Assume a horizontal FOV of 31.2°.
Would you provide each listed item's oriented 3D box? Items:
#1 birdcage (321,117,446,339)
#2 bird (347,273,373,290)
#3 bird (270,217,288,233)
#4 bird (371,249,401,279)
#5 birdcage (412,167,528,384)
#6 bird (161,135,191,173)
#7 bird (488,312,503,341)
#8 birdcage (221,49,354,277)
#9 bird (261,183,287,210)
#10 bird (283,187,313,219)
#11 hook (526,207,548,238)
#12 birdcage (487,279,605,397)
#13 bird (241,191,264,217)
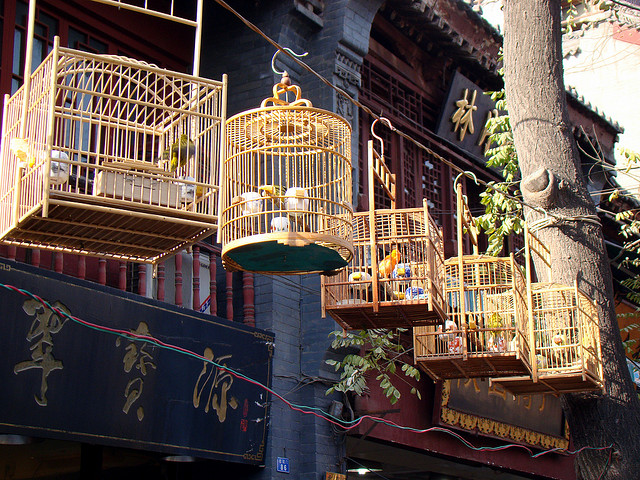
[{"bbox_3d":[0.633,-0.314,12.964,1.390,2.344,1.463,-2,4,-22],"label":"birdcage"},{"bbox_3d":[0.445,0.448,12.618,0.189,0.123,0.208,0,-7,3],"label":"bird"},{"bbox_3d":[-0.392,-0.141,11.294,0.117,0.144,0.129,-2,-4,9],"label":"bird"},{"bbox_3d":[0.716,0.264,12.549,0.313,0.353,0.401,-2,-18,3],"label":"bird"},{"bbox_3d":[1.910,0.482,14.018,1.143,2.315,1.536,-6,-7,23],"label":"birdcage"},{"bbox_3d":[-1.361,-0.789,10.879,0.314,0.318,0.175,-10,-19,25],"label":"bird"},{"bbox_3d":[2.065,1.018,13.431,0.141,0.321,0.050,0,-9,26],"label":"bird"},{"bbox_3d":[-0.323,-0.685,11.889,1.271,2.102,1.359,8,-17,-30],"label":"birdcage"},{"bbox_3d":[-0.422,-0.477,12.033,0.117,0.216,0.299,-5,-19,41],"label":"bird"},{"bbox_3d":[-0.219,-0.354,11.329,0.258,0.354,0.271,-1,0,-16],"label":"bird"},{"bbox_3d":[2.421,-0.212,12.928,0.201,0.293,0.045,4,8,37],"label":"hook"},{"bbox_3d":[2.774,0.982,13.124,0.599,1.162,1.122,-8,-8,20],"label":"birdcage"},{"bbox_3d":[-0.664,-0.356,11.363,0.209,0.254,0.227,1,-5,-15],"label":"bird"}]
